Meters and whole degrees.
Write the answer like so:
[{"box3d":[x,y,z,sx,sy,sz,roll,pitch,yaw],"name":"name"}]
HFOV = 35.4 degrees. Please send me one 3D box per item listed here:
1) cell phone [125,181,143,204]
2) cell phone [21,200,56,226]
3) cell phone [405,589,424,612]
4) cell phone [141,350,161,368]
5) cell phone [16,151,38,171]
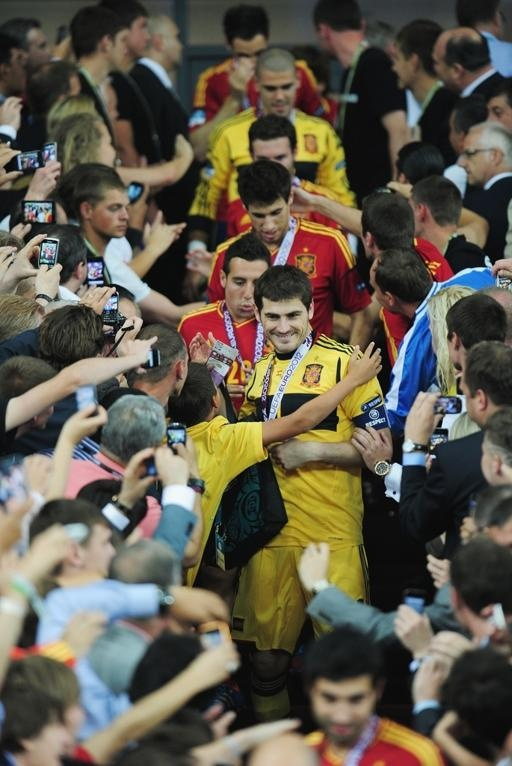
[{"box3d":[-0.866,-1.356,5.711,0.062,0.156,0.170,14,25,18],"name":"cell phone"},{"box3d":[-1.175,-0.920,4.331,0.234,0.152,0.023,1,5,18],"name":"cell phone"},{"box3d":[0.449,0.613,2.276,0.052,0.046,0.089,12,-1,11],"name":"cell phone"},{"box3d":[-0.420,-0.101,3.208,0.076,0.067,0.017,5,4,1],"name":"cell phone"},{"box3d":[-1.358,-1.318,4.738,0.160,0.103,0.016,-3,12,17],"name":"cell phone"}]
